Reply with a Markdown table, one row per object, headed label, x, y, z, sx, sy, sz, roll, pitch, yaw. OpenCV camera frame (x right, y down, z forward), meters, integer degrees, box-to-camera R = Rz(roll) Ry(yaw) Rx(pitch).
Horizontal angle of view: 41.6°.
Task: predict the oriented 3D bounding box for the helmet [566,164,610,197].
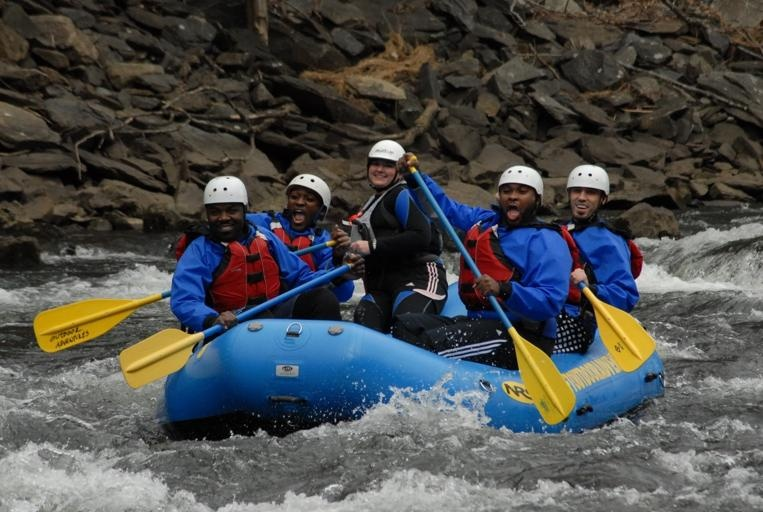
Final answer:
| label | x | y | z | sx | sy | sz | roll | pitch | yaw |
| --- | --- | --- | --- | --- | --- | --- | --- | --- | --- |
| helmet | 2.651 | -0.991 | 12.869 | 0.392 | 0.367 | 0.483 | 11 | 10 | 14 |

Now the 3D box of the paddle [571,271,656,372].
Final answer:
| label | x | y | z | sx | sy | sz | roll | pitch | yaw |
| --- | --- | --- | --- | --- | --- | --- | --- | --- | --- |
| paddle | 2.759 | 0.842 | 12.071 | 1.235 | 0.425 | 0.246 | 46 | -4 | 27 |

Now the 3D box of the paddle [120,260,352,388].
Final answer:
| label | x | y | z | sx | sy | sz | roll | pitch | yaw |
| --- | --- | --- | --- | --- | --- | --- | --- | --- | --- |
| paddle | -1.647 | 0.715 | 12.223 | 3.282 | 0.481 | 0.159 | -25 | 5 | -29 |

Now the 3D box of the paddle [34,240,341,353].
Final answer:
| label | x | y | z | sx | sy | sz | roll | pitch | yaw |
| --- | --- | --- | --- | --- | --- | --- | --- | --- | --- |
| paddle | -2.265 | 0.424 | 12.264 | 4.057 | 0.323 | 0.504 | -15 | 45 | 0 |
